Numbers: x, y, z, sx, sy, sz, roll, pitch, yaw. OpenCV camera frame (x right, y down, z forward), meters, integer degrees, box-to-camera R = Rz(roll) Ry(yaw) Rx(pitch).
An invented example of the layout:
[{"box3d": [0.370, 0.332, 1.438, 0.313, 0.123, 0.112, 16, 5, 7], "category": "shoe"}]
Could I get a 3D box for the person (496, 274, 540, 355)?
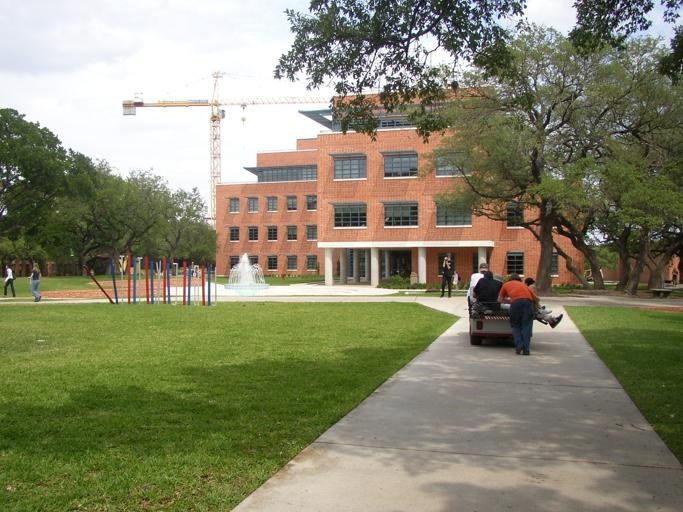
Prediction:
[{"box3d": [4.157, 1.311, 14.793, 0.846, 2.092, 0.669, -4, -30, 16], "category": "person"}]
